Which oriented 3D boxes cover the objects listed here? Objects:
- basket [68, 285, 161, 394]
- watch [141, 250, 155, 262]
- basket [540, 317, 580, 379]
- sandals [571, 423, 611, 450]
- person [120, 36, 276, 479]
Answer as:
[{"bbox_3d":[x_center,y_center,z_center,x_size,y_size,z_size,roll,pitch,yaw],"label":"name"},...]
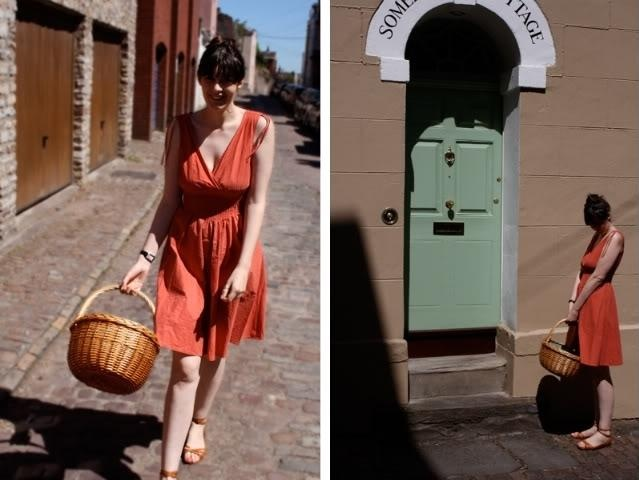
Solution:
[{"bbox_3d":[-1.022,0.568,2.558,0.433,0.447,0.148,5,12,4],"label":"basket"},{"bbox_3d":[-0.888,0.084,2.721,0.072,0.025,0.052,41,2,12],"label":"watch"},{"bbox_3d":[1.769,0.842,3.857,0.253,0.515,0.400,10,14,26],"label":"basket"},{"bbox_3d":[2.000,1.433,3.845,0.213,0.098,0.157,-3,18,2],"label":"sandals"},{"bbox_3d":[-0.599,0.086,2.740,0.647,2.184,0.461,-7,16,-42],"label":"person"}]
